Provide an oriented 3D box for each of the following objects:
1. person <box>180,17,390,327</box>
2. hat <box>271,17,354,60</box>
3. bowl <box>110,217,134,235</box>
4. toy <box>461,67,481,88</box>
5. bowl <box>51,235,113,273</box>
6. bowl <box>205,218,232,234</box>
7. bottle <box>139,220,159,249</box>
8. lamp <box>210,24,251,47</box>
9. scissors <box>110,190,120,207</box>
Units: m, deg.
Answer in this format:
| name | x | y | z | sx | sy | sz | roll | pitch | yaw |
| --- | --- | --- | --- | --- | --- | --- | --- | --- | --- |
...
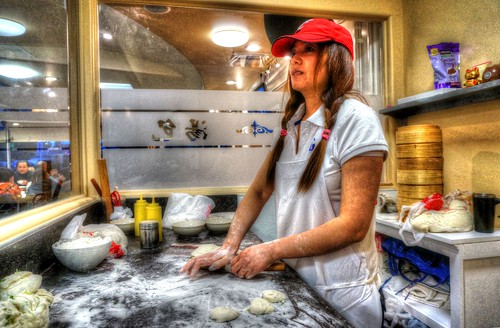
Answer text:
| name | x | y | z | sx | sy | sz | roll | pitch | yaw |
| --- | --- | --- | --- | --- | --- | --- | --- | --- | --- |
| person | 0.292 | 0.031 | 1.668 | 0.833 | 1.574 | 0.567 | 4 | 7 | 23 |
| hat | 0.365 | -0.711 | 1.772 | 0.264 | 0.163 | 0.349 | -14 | 0 | -3 |
| bowl | -0.894 | 0.435 | 2.263 | 0.126 | 0.044 | 0.128 | 1 | -2 | 0 |
| toy | 1.622 | -0.627 | 2.317 | 0.108 | 0.158 | 0.217 | 5 | 7 | 33 |
| bowl | -0.929 | 0.511 | 1.774 | 0.303 | 0.151 | 0.293 | -1 | -2 | 0 |
| bowl | -0.224 | 0.424 | 2.298 | 0.168 | 0.062 | 0.156 | 1 | -4 | 0 |
| bottle | -0.622 | 0.434 | 1.998 | 0.168 | 0.163 | 0.157 | 0 | 0 | 1 |
| lamp | -0.191 | -1.212 | 3.073 | 0.374 | 0.076 | 0.352 | -2 | 2 | -26 |
| scissors | -1.031 | 0.268 | 2.452 | 0.030 | 0.103 | 0.079 | -22 | -7 | 22 |
